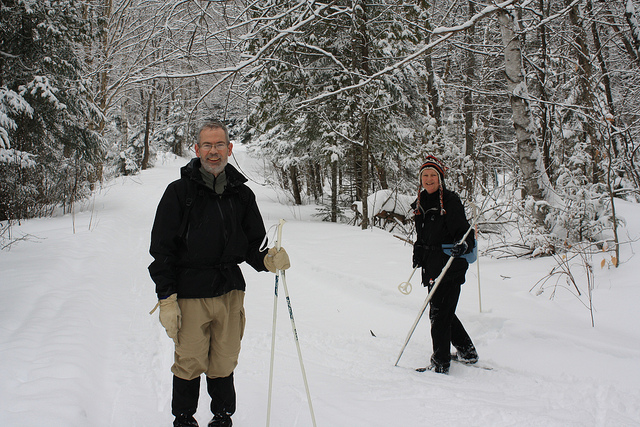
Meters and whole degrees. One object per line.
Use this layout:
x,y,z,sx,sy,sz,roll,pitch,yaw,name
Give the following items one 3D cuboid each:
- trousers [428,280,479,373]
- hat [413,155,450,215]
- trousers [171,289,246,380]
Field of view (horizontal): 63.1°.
2.289,1.950,9.153,0.779,1.631,0.342,-2,4,-29,trousers
1.961,-0.507,9.248,0.530,1.058,0.448,1,4,16,hat
-1.670,1.724,7.974,1.091,1.661,0.581,0,12,-15,trousers
